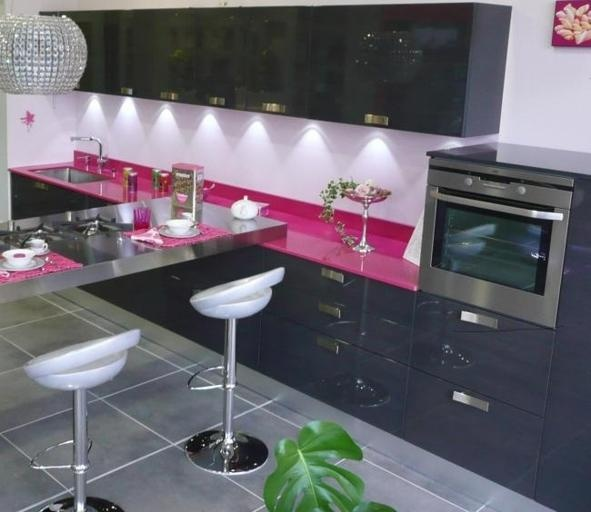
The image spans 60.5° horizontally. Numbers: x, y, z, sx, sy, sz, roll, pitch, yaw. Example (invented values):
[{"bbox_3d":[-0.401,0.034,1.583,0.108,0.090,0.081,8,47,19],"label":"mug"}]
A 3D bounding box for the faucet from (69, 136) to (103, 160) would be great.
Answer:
[{"bbox_3d":[-2.198,-1.130,5.277,0.397,0.321,0.092,1,3,1],"label":"faucet"}]

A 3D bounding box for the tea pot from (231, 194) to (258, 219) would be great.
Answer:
[{"bbox_3d":[-0.338,-0.312,3.346,0.165,0.137,0.162,3,19,-1],"label":"tea pot"}]

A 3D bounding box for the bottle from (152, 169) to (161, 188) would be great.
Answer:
[{"bbox_3d":[-1.242,-0.673,4.461,0.085,0.159,0.049,4,17,9],"label":"bottle"}]

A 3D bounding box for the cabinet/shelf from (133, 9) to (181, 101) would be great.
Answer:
[{"bbox_3d":[-1.174,-1.614,4.110,0.178,0.634,0.741,-4,8,-39],"label":"cabinet/shelf"}]

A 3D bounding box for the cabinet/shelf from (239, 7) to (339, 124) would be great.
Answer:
[{"bbox_3d":[-0.037,-1.258,3.264,0.789,0.523,0.405,19,25,40],"label":"cabinet/shelf"}]

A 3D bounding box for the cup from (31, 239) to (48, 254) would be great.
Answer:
[{"bbox_3d":[-1.224,-0.044,2.387,0.091,0.060,0.061,-2,11,-31],"label":"cup"}]

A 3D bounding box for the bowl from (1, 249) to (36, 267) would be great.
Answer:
[{"bbox_3d":[-1.225,-0.004,2.239,0.096,0.035,0.091,3,25,-1],"label":"bowl"}]

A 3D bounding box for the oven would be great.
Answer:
[{"bbox_3d":[1.043,-0.099,2.493,0.708,0.625,0.492,15,18,42],"label":"oven"}]

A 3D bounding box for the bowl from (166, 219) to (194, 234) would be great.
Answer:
[{"bbox_3d":[-0.659,-0.163,2.868,0.163,0.076,0.119,-2,16,-10],"label":"bowl"}]

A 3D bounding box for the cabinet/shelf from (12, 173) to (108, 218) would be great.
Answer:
[{"bbox_3d":[-2.283,-0.516,4.883,0.793,0.535,0.433,13,24,10],"label":"cabinet/shelf"}]

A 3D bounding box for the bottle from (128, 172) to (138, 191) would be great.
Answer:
[{"bbox_3d":[-1.449,-0.654,4.433,0.080,0.150,0.153,-5,17,-20],"label":"bottle"}]
